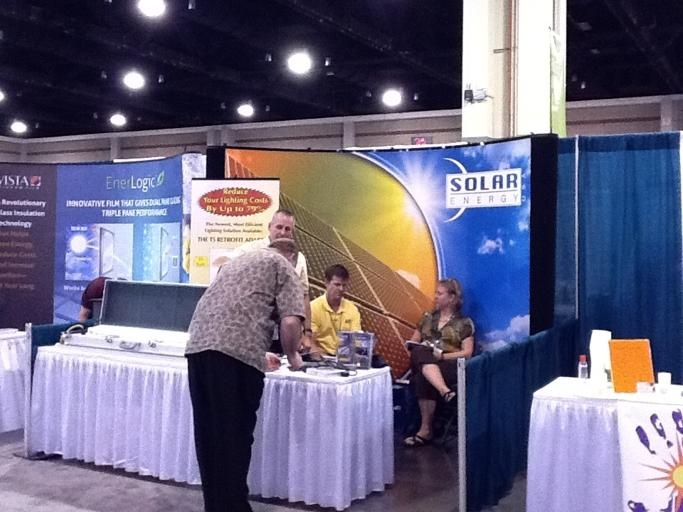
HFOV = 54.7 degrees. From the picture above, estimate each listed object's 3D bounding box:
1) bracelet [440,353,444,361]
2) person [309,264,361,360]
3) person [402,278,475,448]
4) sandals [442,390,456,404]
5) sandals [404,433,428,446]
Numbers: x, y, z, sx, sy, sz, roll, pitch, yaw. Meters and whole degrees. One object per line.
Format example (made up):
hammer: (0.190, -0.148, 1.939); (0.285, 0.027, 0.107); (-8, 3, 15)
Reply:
bracelet: (0.885, 0.891, 5.818); (0.019, 0.022, 0.058); (-16, 20, 26)
person: (-0.064, 0.487, 5.881); (0.487, 0.854, 0.555); (-1, 14, -9)
person: (0.875, 0.934, 5.871); (0.598, 1.456, 0.620); (0, -1, 12)
sandals: (0.933, 1.222, 5.697); (0.104, 0.138, 0.148); (1, -27, -1)
sandals: (0.665, 1.614, 5.807); (0.186, 0.072, 0.092); (2, -1, -7)
